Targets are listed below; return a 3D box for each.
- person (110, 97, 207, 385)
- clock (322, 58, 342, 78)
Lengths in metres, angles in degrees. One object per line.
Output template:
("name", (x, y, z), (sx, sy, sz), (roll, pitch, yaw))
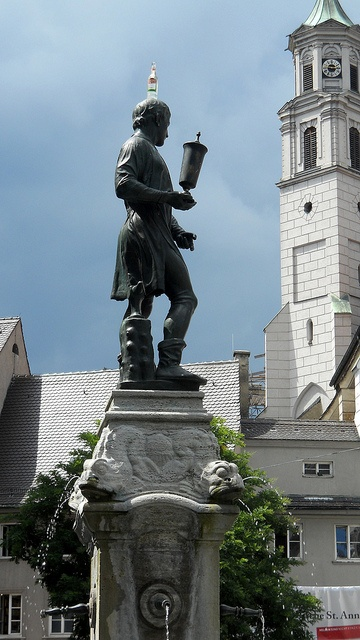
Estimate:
("person", (-0.246, -0.798, 14.168), (0.834, 3.001, 0.739), (-1, -16, -3))
("clock", (7.125, -11.919, 69.246), (0.756, 0.867, 0.814), (2, 2, 9))
